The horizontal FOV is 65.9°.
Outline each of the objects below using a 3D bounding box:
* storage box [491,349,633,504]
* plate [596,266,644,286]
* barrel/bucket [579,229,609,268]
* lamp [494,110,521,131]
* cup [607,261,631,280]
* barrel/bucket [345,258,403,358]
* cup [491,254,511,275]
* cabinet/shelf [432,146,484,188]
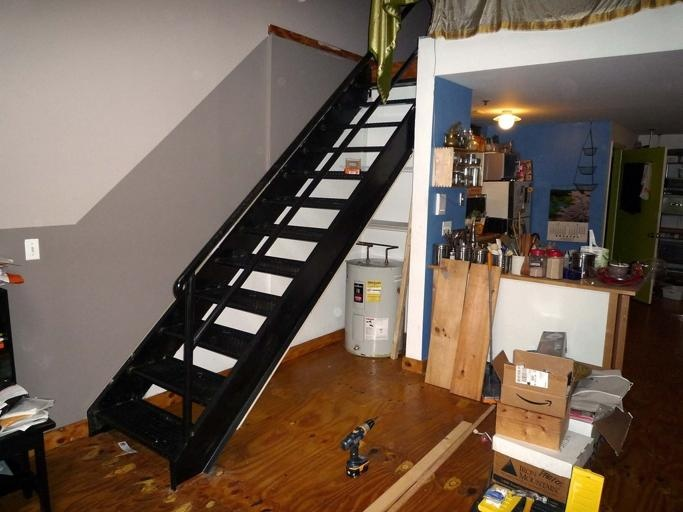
[{"bbox_3d":[1.586,1.158,3.748,1.024,0.891,0.608,-2,10,-28],"label":"storage box"},{"bbox_3d":[2.484,0.182,4.662,0.213,0.114,0.253,-4,8,33],"label":"plate"},{"bbox_3d":[2.812,-0.103,5.890,0.308,0.565,0.427,-2,8,24],"label":"barrel/bucket"},{"bbox_3d":[2.254,-1.868,7.148,0.333,0.230,0.350,-3,10,3],"label":"lamp"},{"bbox_3d":[2.404,0.122,4.574,0.128,0.150,0.165,2,5,29],"label":"cup"},{"bbox_3d":[0.380,0.487,5.945,0.682,1.071,0.582,6,9,29],"label":"barrel/bucket"},{"bbox_3d":[1.504,0.069,4.977,0.188,0.179,0.124,-5,12,-41],"label":"cup"},{"bbox_3d":[1.198,-0.899,5.366,0.228,0.395,0.695,10,11,40],"label":"cabinet/shelf"}]
